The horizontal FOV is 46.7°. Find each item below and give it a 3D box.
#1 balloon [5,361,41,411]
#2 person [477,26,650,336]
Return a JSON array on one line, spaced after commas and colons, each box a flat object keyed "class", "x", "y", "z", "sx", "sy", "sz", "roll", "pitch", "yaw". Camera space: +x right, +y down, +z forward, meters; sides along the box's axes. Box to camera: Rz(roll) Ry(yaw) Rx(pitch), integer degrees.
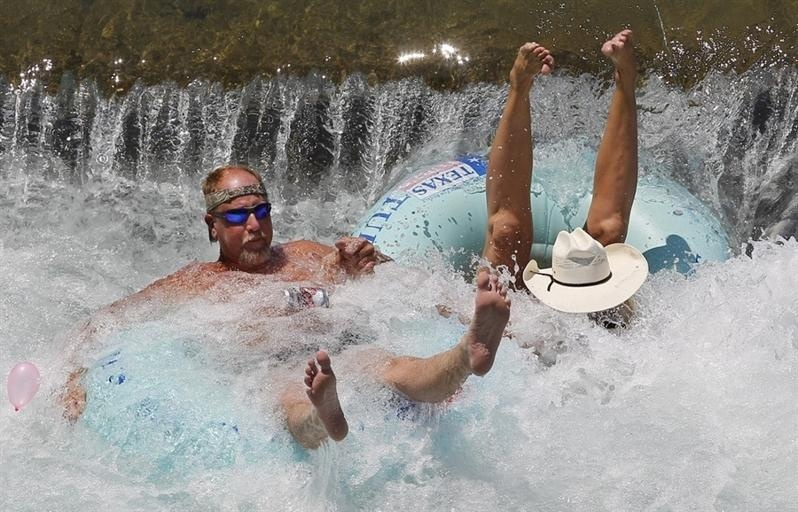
[{"class": "balloon", "x": -2.806, "y": 0.964, "z": 6.863, "sx": 0.246, "sy": 0.333, "sz": 0.090, "roll": 12, "pitch": -7, "yaw": -10}, {"class": "person", "x": 1.357, "y": -0.598, "z": 7.511, "sx": 1.241, "sy": 0.433, "sz": 2.735, "roll": -1, "pitch": 65, "yaw": 9}]
